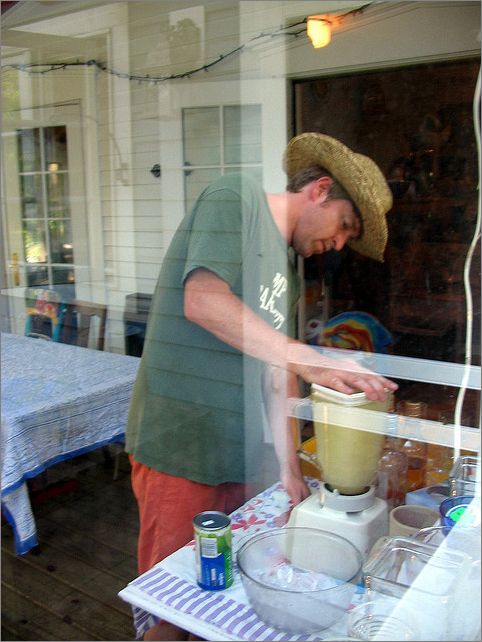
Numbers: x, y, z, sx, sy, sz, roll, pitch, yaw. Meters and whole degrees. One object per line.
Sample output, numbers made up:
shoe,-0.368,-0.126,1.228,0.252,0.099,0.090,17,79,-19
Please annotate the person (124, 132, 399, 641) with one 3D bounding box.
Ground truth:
person,0.020,0.128,0.945,0.358,0.795,0.429,22,20,32

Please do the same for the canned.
canned,-0.036,0.303,0.712,0.052,0.084,0.049,2,4,12

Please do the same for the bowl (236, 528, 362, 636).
bowl,0.070,0.297,0.664,0.129,0.053,0.124,0,12,0

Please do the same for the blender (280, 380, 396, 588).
blender,0.131,0.213,0.706,0.137,0.231,0.100,3,3,31

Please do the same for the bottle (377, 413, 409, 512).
bottle,0.193,0.188,0.688,0.038,0.095,0.051,9,16,27

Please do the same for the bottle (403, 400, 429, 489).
bottle,0.211,0.156,0.650,0.028,0.136,0.066,3,8,19

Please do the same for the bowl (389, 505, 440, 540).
bowl,0.215,0.249,0.685,0.042,0.045,0.052,-2,6,-11
